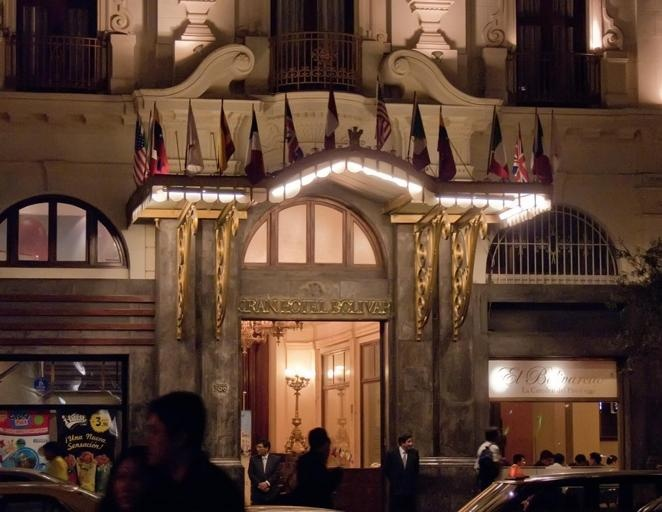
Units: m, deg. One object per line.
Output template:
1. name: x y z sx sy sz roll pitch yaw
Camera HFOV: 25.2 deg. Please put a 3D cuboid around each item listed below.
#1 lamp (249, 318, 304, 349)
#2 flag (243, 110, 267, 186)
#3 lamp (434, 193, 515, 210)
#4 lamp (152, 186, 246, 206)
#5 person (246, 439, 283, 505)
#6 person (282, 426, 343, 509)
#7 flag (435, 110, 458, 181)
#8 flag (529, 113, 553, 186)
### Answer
1. lamp: -1.482 1.765 35.657 0.930 0.501 0.930 6 -9 -36
2. flag: -1.379 -1.928 26.905 0.349 1.312 0.380 0 -9 -4
3. lamp: 2.692 -1.009 27.487 1.577 0.165 0.631 0 -10 -8
4. lamp: -2.418 -0.967 26.532 1.570 0.279 0.383 3 34 -10
5. person: -1.213 3.987 27.332 0.588 1.210 0.695 0 -10 -3
6. person: -0.252 3.262 22.647 0.818 1.223 0.495 -1 -9 -2
7. flag: 2.172 -2.036 27.737 0.306 1.384 0.708 -1 -10 4
8. flag: 4.050 -2.094 28.367 0.381 1.494 0.627 -2 -10 9
